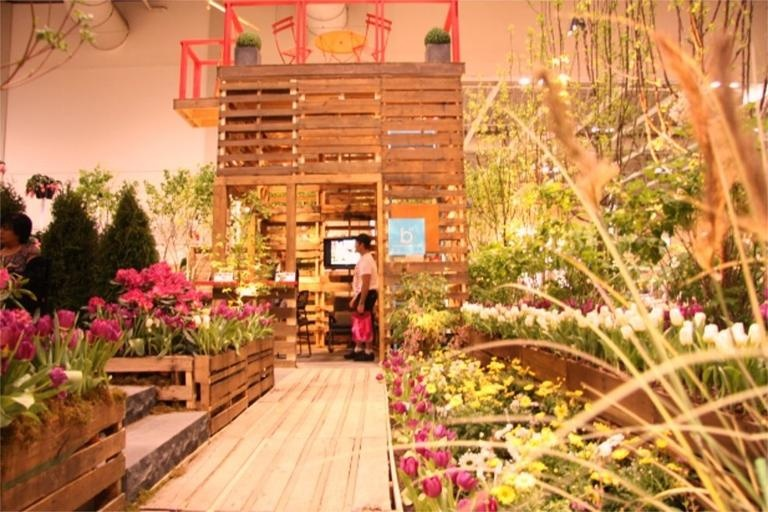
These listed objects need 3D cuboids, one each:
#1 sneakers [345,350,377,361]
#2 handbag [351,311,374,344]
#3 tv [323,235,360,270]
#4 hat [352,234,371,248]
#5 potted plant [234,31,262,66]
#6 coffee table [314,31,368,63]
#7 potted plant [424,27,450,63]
[{"bbox_3d":[-0.315,1.345,8.227,0.416,0.177,0.157,3,-11,5],"label":"sneakers"},{"bbox_3d":[-0.319,0.907,8.113,0.346,0.466,0.164,8,-31,-32],"label":"handbag"},{"bbox_3d":[-0.726,-0.019,10.515,0.798,0.751,0.447,0,-4,2],"label":"tv"},{"bbox_3d":[-0.264,-0.155,7.915,0.196,0.208,0.242,2,11,-17],"label":"hat"},{"bbox_3d":[-1.976,-3.010,8.863,0.367,0.585,0.428,-2,15,-14],"label":"potted plant"},{"bbox_3d":[-0.786,-3.703,11.048,0.960,0.359,0.983,-3,-1,-24],"label":"coffee table"},{"bbox_3d":[0.765,-2.983,8.920,0.458,0.581,0.480,0,5,-1],"label":"potted plant"}]
